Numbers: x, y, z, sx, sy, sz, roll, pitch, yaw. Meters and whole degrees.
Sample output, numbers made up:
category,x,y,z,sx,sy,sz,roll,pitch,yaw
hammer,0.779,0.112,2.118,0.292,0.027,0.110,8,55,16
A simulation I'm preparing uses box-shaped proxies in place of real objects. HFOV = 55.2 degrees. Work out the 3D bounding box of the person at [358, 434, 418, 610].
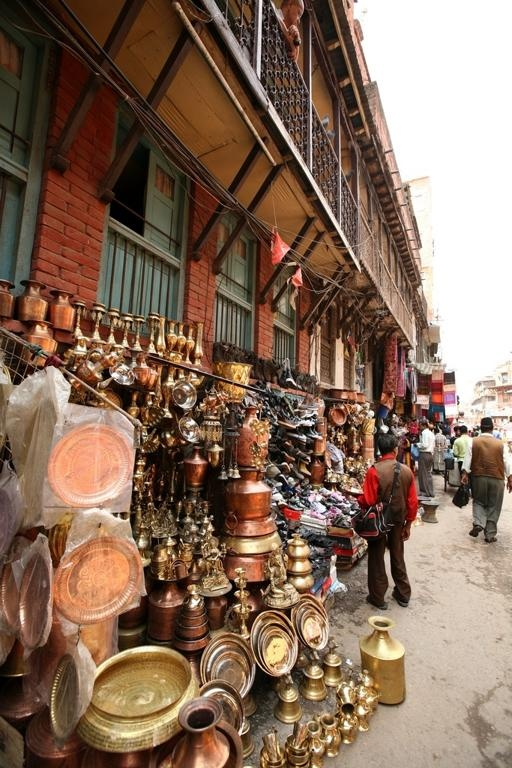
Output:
category,x,y,z,sx,sy,sz,roll,pitch,yaw
person,1.175,1.208,4.361,0.529,1.476,0.539,7,4,8

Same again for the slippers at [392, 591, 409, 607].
category,x,y,z,sx,sy,sz,roll,pitch,yaw
slippers,1.252,1.872,4.252,0.059,0.105,0.150,-3,13,-17

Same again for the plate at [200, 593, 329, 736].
category,x,y,z,sx,sy,sz,roll,pitch,yaw
plate,0.070,1.459,2.689,0.563,0.587,0.520,7,1,21

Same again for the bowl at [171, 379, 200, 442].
category,x,y,z,sx,sy,sz,roll,pitch,yaw
bowl,-0.445,0.177,3.149,0.076,0.375,0.207,-13,0,29

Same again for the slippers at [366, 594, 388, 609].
category,x,y,z,sx,sy,sz,roll,pitch,yaw
slippers,1.040,1.871,4.188,0.067,0.088,0.199,1,4,-22

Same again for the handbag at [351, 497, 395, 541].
category,x,y,z,sx,sy,sz,roll,pitch,yaw
handbag,1.006,1.173,4.176,0.292,0.318,0.197,4,-4,18
